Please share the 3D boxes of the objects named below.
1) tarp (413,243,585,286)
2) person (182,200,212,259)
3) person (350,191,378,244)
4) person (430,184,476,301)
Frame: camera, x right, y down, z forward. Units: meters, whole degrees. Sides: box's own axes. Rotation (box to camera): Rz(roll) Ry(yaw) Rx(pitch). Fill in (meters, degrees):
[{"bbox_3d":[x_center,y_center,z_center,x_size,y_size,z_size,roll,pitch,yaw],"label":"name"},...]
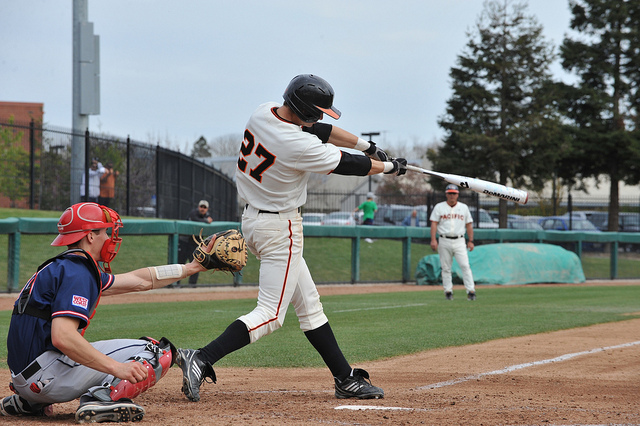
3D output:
[{"bbox_3d":[5.932,1.682,31.130,5.139,1.154,1.232,-3,13,-15],"label":"tarp"},{"bbox_3d":[-3.442,0.878,29.678,0.738,2.525,0.657,-6,6,2],"label":"person"},{"bbox_3d":[1.702,0.129,36.191,0.763,1.787,0.717,5,-3,-5],"label":"person"},{"bbox_3d":[3.524,0.757,25.829,1.134,3.007,0.736,-2,1,22],"label":"person"}]
